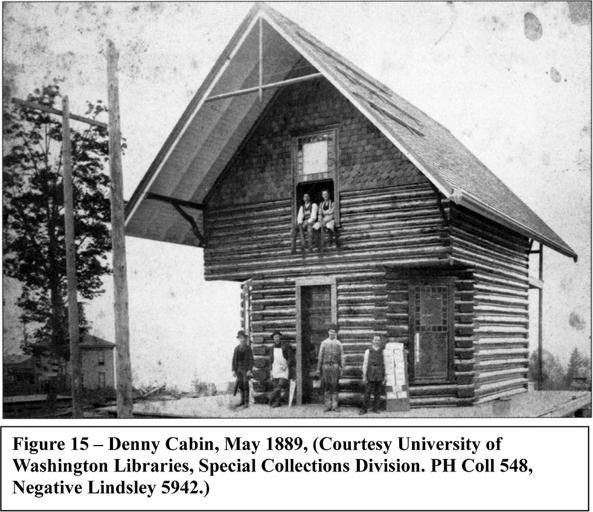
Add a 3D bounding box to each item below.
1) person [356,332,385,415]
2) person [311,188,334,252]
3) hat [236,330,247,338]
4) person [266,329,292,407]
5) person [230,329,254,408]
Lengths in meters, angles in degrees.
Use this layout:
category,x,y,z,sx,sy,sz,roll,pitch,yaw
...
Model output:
category,x,y,z,sx,sy,sz,roll,pitch,yaw
person,2.006,3.082,21.296,0.602,2.093,0.637,-5,-11,27
person,0.774,-0.935,22.599,0.435,1.592,0.806,6,-12,-32
hat,-1.521,2.187,22.659,0.228,0.125,0.295,1,5,13
person,-0.471,3.214,22.911,0.489,2.081,0.875,2,-10,-9
person,-1.526,3.152,22.655,0.545,2.081,0.726,1,-10,-3
